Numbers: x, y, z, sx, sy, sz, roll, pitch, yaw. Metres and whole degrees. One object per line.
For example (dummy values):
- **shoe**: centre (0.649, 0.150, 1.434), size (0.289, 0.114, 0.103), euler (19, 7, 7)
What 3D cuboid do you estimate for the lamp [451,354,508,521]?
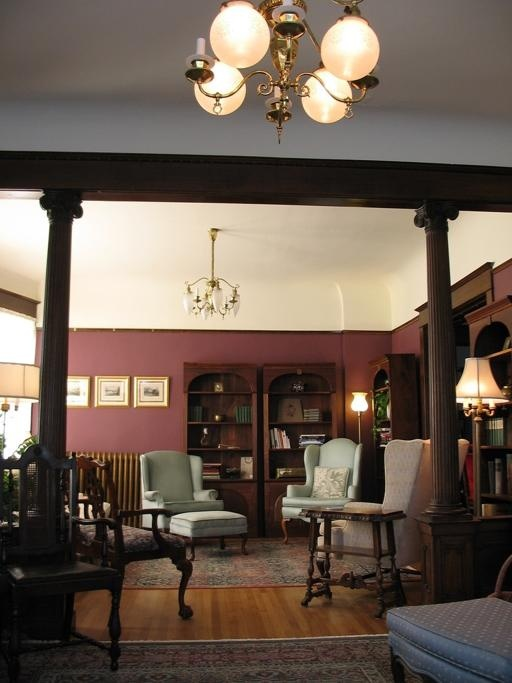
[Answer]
- **lamp**: centre (1.817, 0.742, 4.668), size (0.393, 1.272, 0.820), euler (-5, -8, 19)

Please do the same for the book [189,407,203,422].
- **book**: centre (-0.856, 1.034, 8.410), size (0.200, 0.257, 0.191), euler (-1, -1, 5)

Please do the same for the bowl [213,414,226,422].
- **bowl**: centre (-0.514, 1.087, 8.409), size (0.112, 0.080, 0.118), euler (0, -13, 0)

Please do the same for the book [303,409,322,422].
- **book**: centre (0.822, 1.066, 8.536), size (0.235, 0.214, 0.166), euler (2, -25, 1)

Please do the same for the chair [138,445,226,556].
- **chair**: centre (-0.718, 1.987, 7.358), size (1.220, 1.453, 1.143), euler (6, -23, -26)

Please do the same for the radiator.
- **radiator**: centre (-2.118, 2.052, 8.164), size (1.184, 1.165, 0.105), euler (-3, 33, -22)

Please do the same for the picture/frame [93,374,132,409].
- **picture/frame**: centre (-2.081, 0.738, 8.525), size (0.521, 0.486, 0.043), euler (0, -10, -6)

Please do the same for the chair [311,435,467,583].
- **chair**: centre (1.137, 1.181, 4.633), size (1.122, 1.334, 1.049), euler (-8, -14, 38)

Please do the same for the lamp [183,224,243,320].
- **lamp**: centre (-0.546, -0.905, 7.397), size (0.885, 1.193, 0.859), euler (0, -11, 1)

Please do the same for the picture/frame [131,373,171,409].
- **picture/frame**: centre (-1.527, 0.733, 8.554), size (0.523, 0.490, 0.035), euler (0, -11, -4)

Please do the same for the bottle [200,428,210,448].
- **bottle**: centre (-0.718, 1.358, 8.402), size (0.116, 0.268, 0.217), euler (-1, -7, -6)

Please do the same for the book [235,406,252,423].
- **book**: centre (-0.178, 1.044, 8.481), size (0.269, 0.243, 0.193), euler (0, -8, -2)
